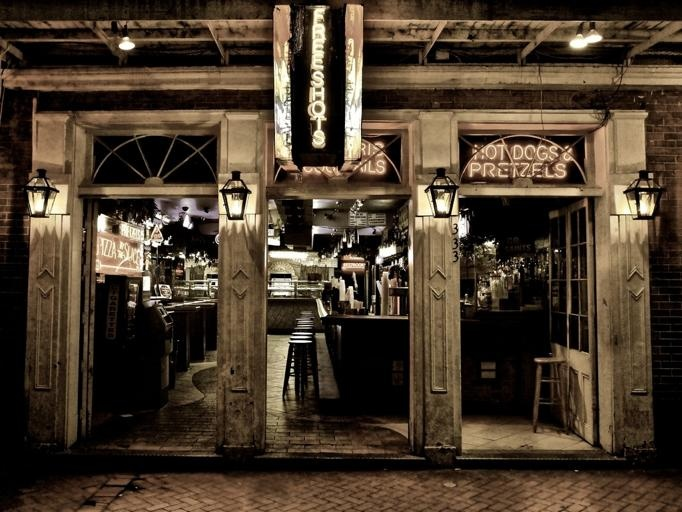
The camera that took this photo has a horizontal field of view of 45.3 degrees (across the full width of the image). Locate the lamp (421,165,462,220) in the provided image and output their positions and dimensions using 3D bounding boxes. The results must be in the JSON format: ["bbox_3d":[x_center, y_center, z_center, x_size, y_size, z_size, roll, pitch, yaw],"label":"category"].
[{"bbox_3d":[1.294,-0.858,10.982,0.548,0.830,0.548,1,-1,-22],"label":"lamp"}]

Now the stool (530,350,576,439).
[{"bbox_3d":[3.109,2.010,12.212,0.532,1.082,1.006,1,9,8],"label":"stool"}]

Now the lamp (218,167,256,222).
[{"bbox_3d":[-1.409,-0.830,10.919,0.522,0.913,0.542,1,-2,-8],"label":"lamp"}]

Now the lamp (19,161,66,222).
[{"bbox_3d":[-4.040,-0.841,11.020,0.508,0.668,0.510,7,-9,-40],"label":"lamp"}]

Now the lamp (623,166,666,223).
[{"bbox_3d":[4.061,-0.776,10.986,0.528,0.698,0.583,-6,-15,44],"label":"lamp"}]

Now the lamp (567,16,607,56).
[{"bbox_3d":[3.227,-2.911,10.775,0.517,0.699,0.351,1,-34,19],"label":"lamp"}]
